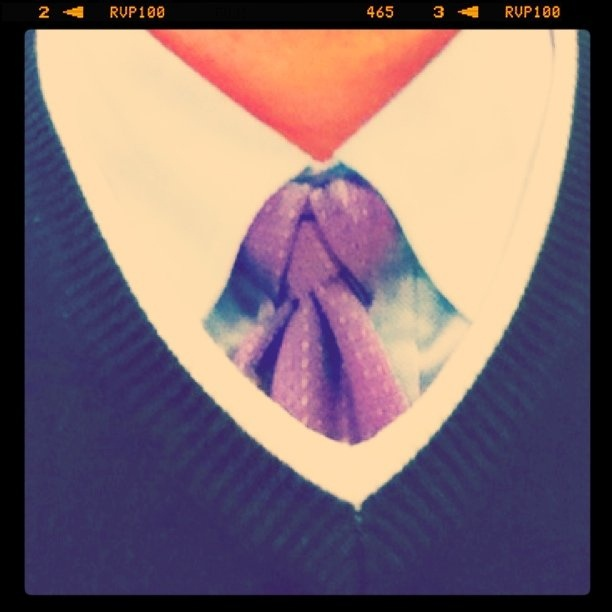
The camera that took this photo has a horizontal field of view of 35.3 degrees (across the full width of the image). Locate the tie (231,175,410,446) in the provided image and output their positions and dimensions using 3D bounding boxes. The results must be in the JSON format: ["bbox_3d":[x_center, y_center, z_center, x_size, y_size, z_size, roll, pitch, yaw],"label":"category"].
[{"bbox_3d":[0.026,0.001,1.466,0.266,0.246,0.252,5,45,6],"label":"tie"}]
